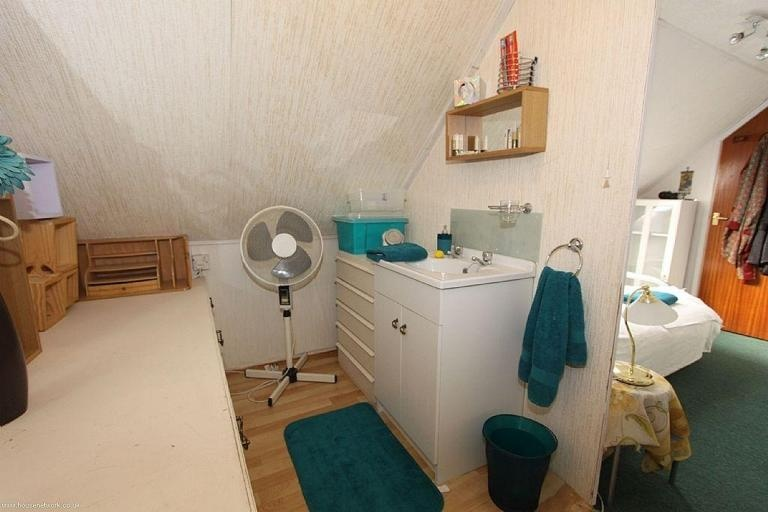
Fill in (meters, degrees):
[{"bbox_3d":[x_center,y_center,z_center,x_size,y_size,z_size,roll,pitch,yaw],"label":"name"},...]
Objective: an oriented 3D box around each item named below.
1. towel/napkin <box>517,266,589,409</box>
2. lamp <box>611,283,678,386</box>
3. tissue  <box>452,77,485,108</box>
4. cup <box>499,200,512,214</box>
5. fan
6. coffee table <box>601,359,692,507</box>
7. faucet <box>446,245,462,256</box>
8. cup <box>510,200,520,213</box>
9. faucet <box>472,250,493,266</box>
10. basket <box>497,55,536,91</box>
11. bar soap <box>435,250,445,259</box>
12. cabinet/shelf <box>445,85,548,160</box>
[{"bbox_3d":[0.896,0.429,2.671,0.260,0.715,0.247,-6,12,-19],"label":"towel/napkin"},{"bbox_3d":[1.316,0.409,2.528,0.251,0.547,0.115,5,13,28],"label":"lamp"},{"bbox_3d":[0.513,-0.986,3.012,0.079,0.211,0.232,-9,11,-41],"label":"tissue "},{"bbox_3d":[0.717,-0.288,2.947,0.073,0.081,0.072,0,10,0],"label":"cup"},{"bbox_3d":[-0.626,0.273,3.255,0.593,1.180,0.570,-5,12,-23],"label":"fan"},{"bbox_3d":[1.364,0.931,2.742,0.545,0.504,0.527,1,3,35],"label":"coffee table"},{"bbox_3d":[0.456,-0.037,3.299,0.090,0.085,0.064,1,8,-7],"label":"faucet"},{"bbox_3d":[0.765,-0.290,2.934,0.056,0.064,0.068,1,11,13],"label":"cup"},{"bbox_3d":[0.597,0.007,3.113,0.113,0.073,0.179,-8,12,-30],"label":"faucet"},{"bbox_3d":[0.767,-1.015,2.849,0.198,0.196,0.191,-3,11,-19],"label":"basket"},{"bbox_3d":[0.368,-0.014,3.295,0.054,0.053,0.053,-7,32,15],"label":"bar soap"},{"bbox_3d":[0.661,-0.771,3.039,0.192,0.336,0.739,-5,8,-27],"label":"cabinet/shelf"}]
